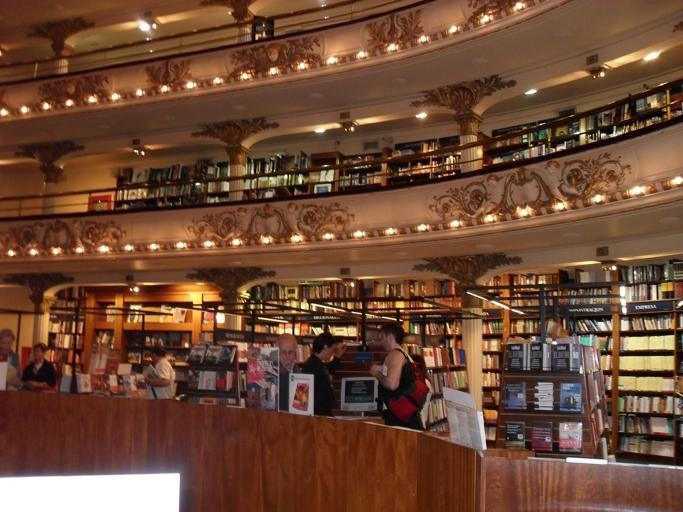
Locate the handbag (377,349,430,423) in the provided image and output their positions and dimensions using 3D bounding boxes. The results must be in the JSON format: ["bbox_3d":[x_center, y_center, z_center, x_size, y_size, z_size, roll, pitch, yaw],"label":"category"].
[{"bbox_3d":[0.512,1.144,5.859,0.563,1.012,0.758,-1,-6,3],"label":"handbag"}]

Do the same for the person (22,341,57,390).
[{"bbox_3d":[-3.958,1.429,8.013,0.381,0.623,1.438,-6,0,-28],"label":"person"}]

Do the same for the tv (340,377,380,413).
[{"bbox_3d":[0.182,1.333,5.938,0.465,0.387,0.224,-1,-10,13],"label":"tv"}]
